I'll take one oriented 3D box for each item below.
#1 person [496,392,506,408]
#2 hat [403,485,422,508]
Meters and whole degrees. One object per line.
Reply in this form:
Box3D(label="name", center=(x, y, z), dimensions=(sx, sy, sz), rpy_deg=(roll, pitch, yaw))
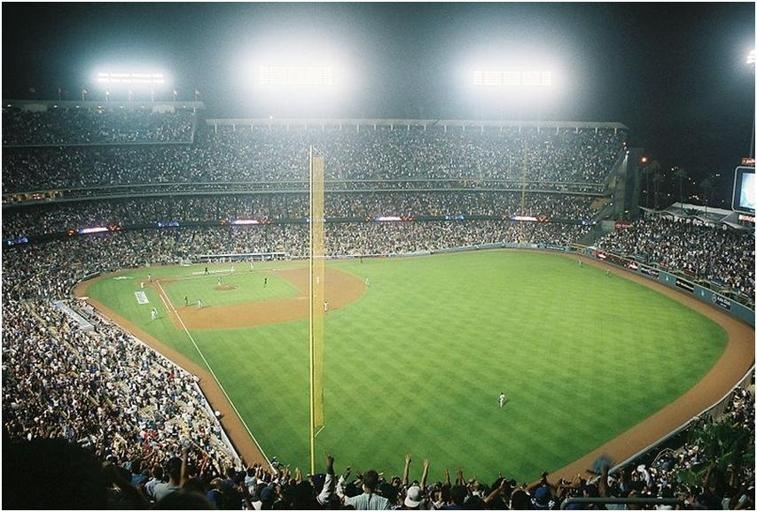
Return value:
Box3D(label="person", center=(6.908, 7.909, 30.559), dimensions=(0.562, 0.604, 1.055), rpy_deg=(1, 13, 15))
Box3D(label="hat", center=(1.283, 8.452, 19.574), dimensions=(0.585, 0.312, 0.824), rpy_deg=(3, 18, 11))
